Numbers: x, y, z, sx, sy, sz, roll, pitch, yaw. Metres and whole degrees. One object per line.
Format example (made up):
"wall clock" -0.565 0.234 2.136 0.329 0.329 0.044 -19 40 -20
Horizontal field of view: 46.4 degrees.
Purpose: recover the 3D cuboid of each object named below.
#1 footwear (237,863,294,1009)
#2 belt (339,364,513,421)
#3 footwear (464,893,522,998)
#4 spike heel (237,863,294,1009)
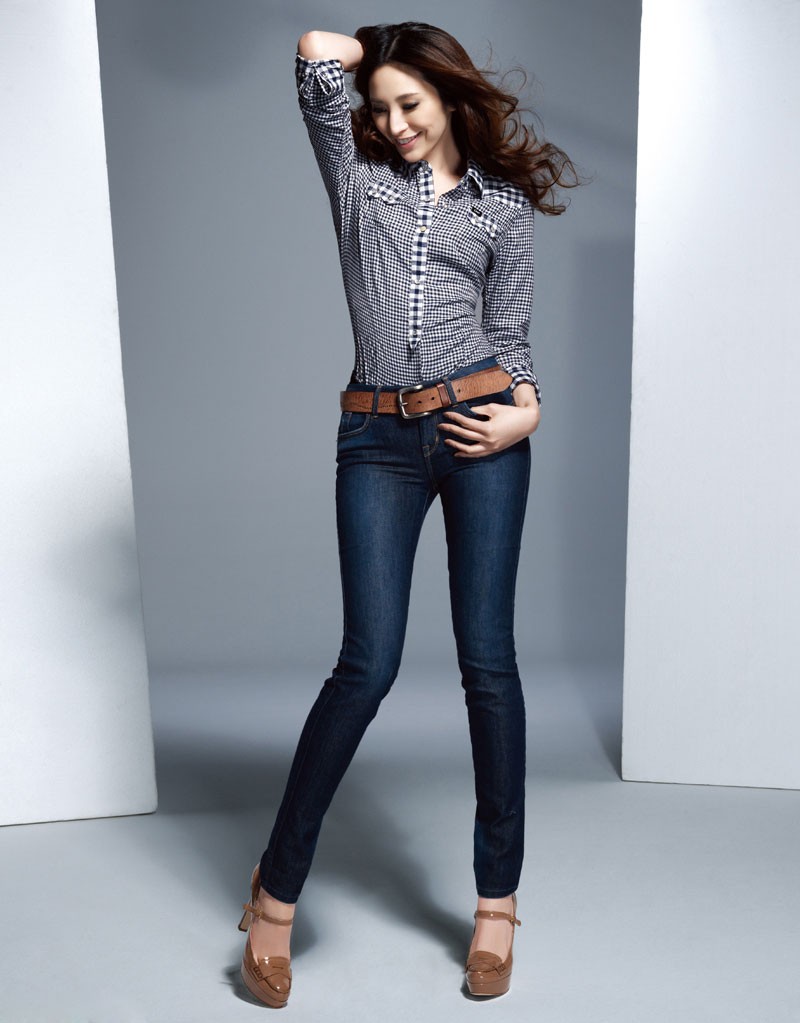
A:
"footwear" -0.202 0.606 1.338 0.064 0.082 0.195 18 17 -28
"belt" 0.035 -0.173 1.359 0.250 0.082 0.115 1 4 5
"footwear" 0.134 0.640 1.376 0.080 0.122 0.113 1 4 6
"spike heel" -0.219 0.605 1.337 0.064 0.082 0.195 18 17 -28
